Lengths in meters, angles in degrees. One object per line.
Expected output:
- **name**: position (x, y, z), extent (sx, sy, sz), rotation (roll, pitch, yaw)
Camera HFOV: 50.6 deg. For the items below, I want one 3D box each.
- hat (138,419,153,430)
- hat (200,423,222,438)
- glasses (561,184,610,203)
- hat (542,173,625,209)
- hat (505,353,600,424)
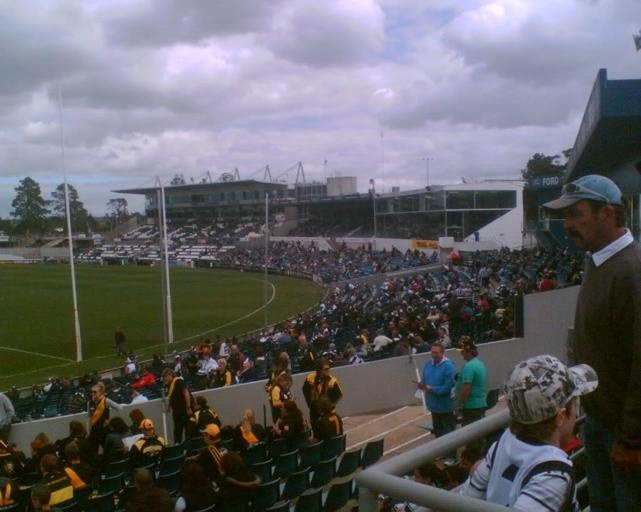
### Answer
- **hat**: position (-2.136, 2.063, 8.357), extent (0.139, 0.121, 0.222), rotation (1, 1, -32)
- **hat**: position (-1.210, 1.957, 7.605), extent (0.152, 0.185, 0.185), rotation (-5, 5, -18)
- **glasses**: position (1.781, -0.417, 4.577), extent (0.186, 0.050, 0.163), rotation (17, 0, 22)
- **hat**: position (1.808, -0.436, 4.642), extent (0.361, 0.174, 0.252), rotation (3, 2, 20)
- **hat**: position (1.382, 0.775, 4.064), extent (0.584, 0.390, 0.260), rotation (-6, 5, -32)
